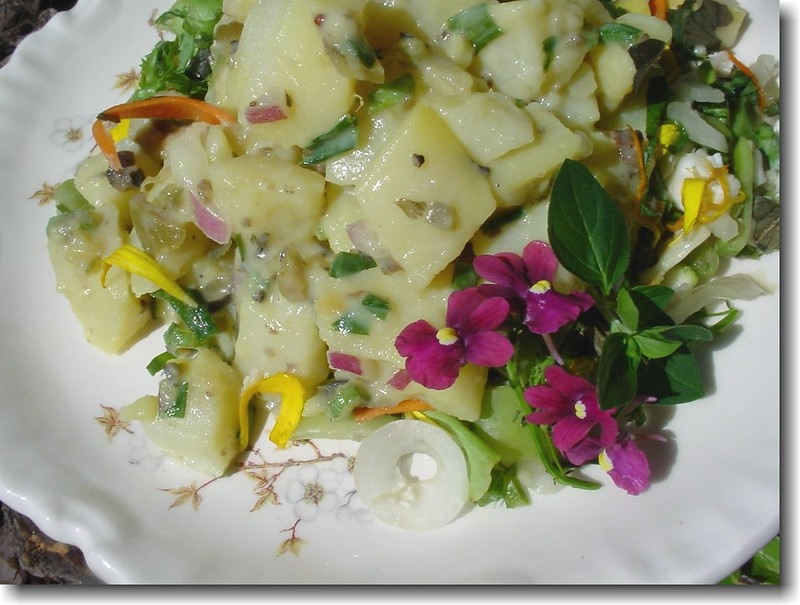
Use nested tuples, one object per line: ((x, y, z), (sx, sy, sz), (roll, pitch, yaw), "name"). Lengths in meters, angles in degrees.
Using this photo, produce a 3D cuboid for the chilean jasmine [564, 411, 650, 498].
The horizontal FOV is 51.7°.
((0.817, 0.617, 3.290), (0.347, 0.147, 0.379), (31, 35, -24), "chilean jasmine")
